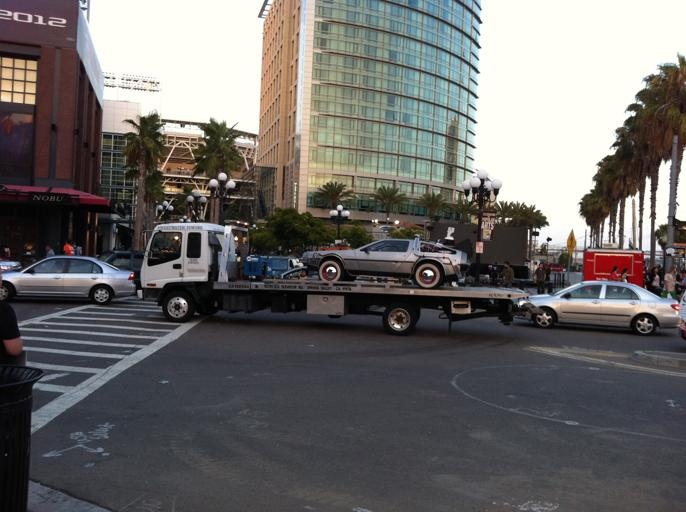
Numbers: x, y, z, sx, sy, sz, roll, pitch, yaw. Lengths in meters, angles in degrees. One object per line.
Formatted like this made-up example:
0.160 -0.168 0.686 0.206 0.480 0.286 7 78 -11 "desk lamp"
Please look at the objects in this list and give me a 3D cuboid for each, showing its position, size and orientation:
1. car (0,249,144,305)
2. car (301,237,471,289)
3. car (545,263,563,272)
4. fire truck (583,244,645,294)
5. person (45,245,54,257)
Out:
-9.728 0.827 22.269 4.206 1.603 1.878 4 -3 -5 "car"
1.385 0.158 17.821 3.404 1.235 1.807 4 -1 18 "car"
24.807 1.357 73.388 1.711 0.942 1.112 5 -1 -2 "car"
14.051 0.916 31.978 1.490 2.335 2.925 -12 -2 6 "fire truck"
-15.368 -0.253 32.733 0.595 0.822 0.253 1 -10 42 "person"
